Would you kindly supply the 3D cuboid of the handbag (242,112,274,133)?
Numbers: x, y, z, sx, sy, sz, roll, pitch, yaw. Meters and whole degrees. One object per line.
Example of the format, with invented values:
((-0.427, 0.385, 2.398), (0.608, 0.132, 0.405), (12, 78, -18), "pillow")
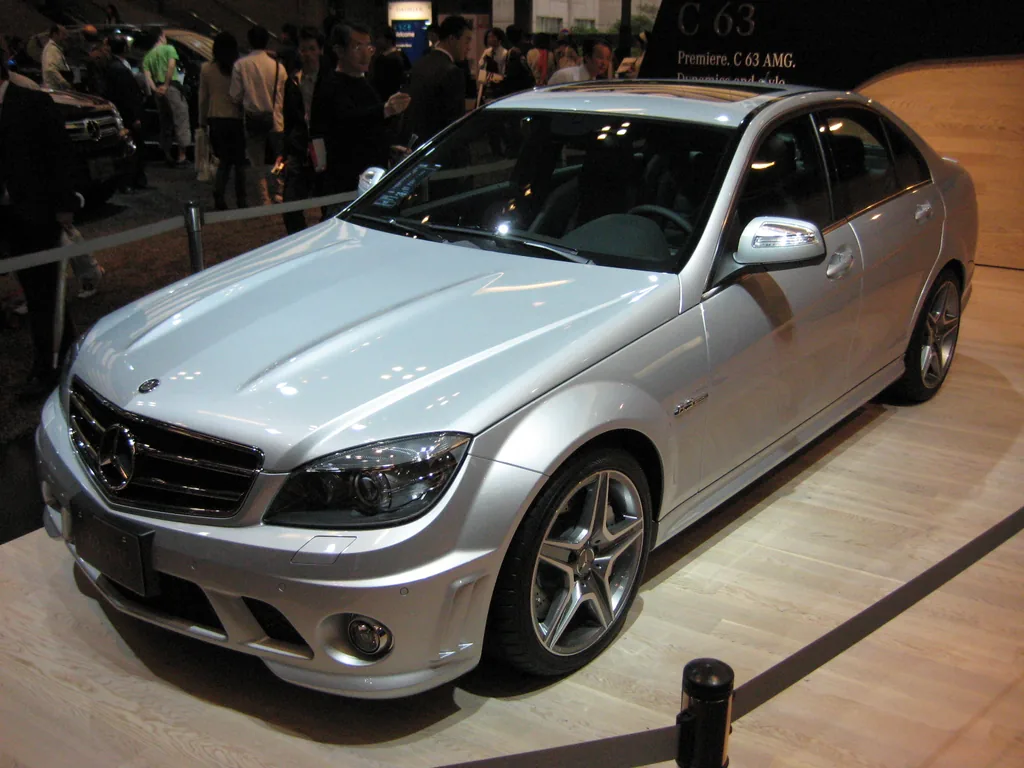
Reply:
((-3.086, -3.214, 8.809), (0.378, 0.259, 0.213), (2, 32, 3), "handbag")

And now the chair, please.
((0.687, -0.937, 3.284), (1.119, 0.493, 0.652), (-16, 30, -33), "chair")

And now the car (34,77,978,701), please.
((0.551, -0.230, 3.411), (2.135, 1.370, 4.244), (24, 36, 39), "car")
